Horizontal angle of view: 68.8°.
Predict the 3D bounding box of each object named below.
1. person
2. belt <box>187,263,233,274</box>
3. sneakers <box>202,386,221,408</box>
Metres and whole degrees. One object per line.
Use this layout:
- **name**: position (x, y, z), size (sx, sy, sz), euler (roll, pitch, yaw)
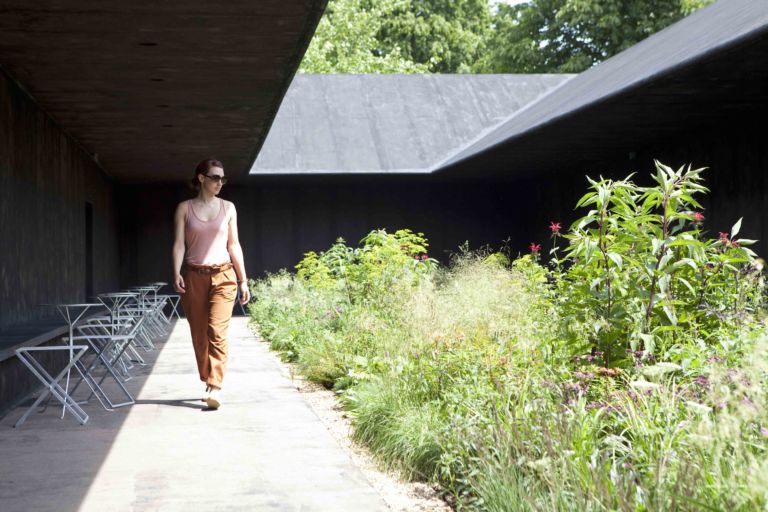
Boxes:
- **person**: position (-1.616, 0.204, 5.080), size (0.674, 2.184, 0.672), euler (-1, 2, 23)
- **belt**: position (-1.574, 0.104, 5.009), size (0.378, 0.084, 0.154), euler (-2, 1, -15)
- **sneakers**: position (-1.498, 1.231, 4.858), size (0.111, 0.139, 0.317), euler (5, -16, -11)
